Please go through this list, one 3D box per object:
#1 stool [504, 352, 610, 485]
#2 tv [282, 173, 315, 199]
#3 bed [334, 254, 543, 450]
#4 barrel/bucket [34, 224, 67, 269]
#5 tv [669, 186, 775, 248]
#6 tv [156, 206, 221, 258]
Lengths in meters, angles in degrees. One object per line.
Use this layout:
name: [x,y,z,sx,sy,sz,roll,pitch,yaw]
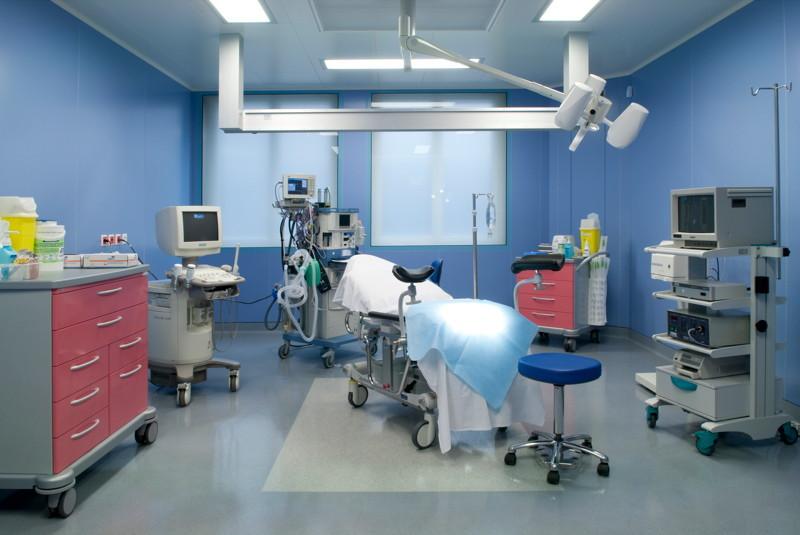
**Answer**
stool: [1.117,1.031,4.153,0.819,0.763,0.818,2,4,14]
tv: [-1.083,-0.865,6.109,0.333,0.241,0.360,-3,14,-12]
bed: [0.052,0.553,4.622,1.058,1.180,1.808,-1,4,-33]
barrel/bucket: [-2.487,-0.150,4.052,0.174,0.323,0.350,-7,15,-24]
tv: [2.428,-0.362,4.303,0.546,0.419,0.558,0,1,-12]
tv: [-1.943,-0.266,5.296,0.505,0.473,0.505,2,-6,-43]
